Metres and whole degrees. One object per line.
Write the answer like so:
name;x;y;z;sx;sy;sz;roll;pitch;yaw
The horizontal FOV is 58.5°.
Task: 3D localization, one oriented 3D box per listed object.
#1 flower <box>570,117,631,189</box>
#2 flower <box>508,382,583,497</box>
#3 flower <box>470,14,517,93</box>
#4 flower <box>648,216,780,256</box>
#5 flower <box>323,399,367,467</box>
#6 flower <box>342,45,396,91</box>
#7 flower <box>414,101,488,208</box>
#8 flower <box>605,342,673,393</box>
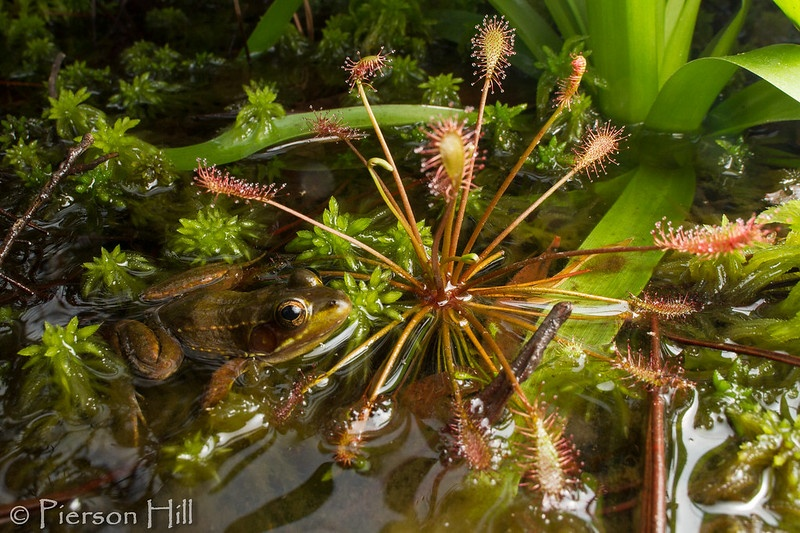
flower;1.297;-0.759;4.702;0.346;0.662;0.205;15;76;-2
flower;0.801;0.969;3.908;0.351;0.175;0.622;-20;98;39
flower;0.575;-1.380;4.440;0.289;0.577;0.126;5;85;17
flower;1.790;-0.168;4.069;0.386;0.193;0.142;-10;101;33
flower;-0.306;0.931;4.029;0.231;0.086;0.326;4;68;24
flower;-0.193;-1.278;4.383;0.258;0.276;0.086;-28;69;-3
flower;0.304;-0.601;4.027;0.502;0.222;0.662;1;90;-1
flower;1.382;0.575;4.127;0.408;0.162;0.149;16;58;4
